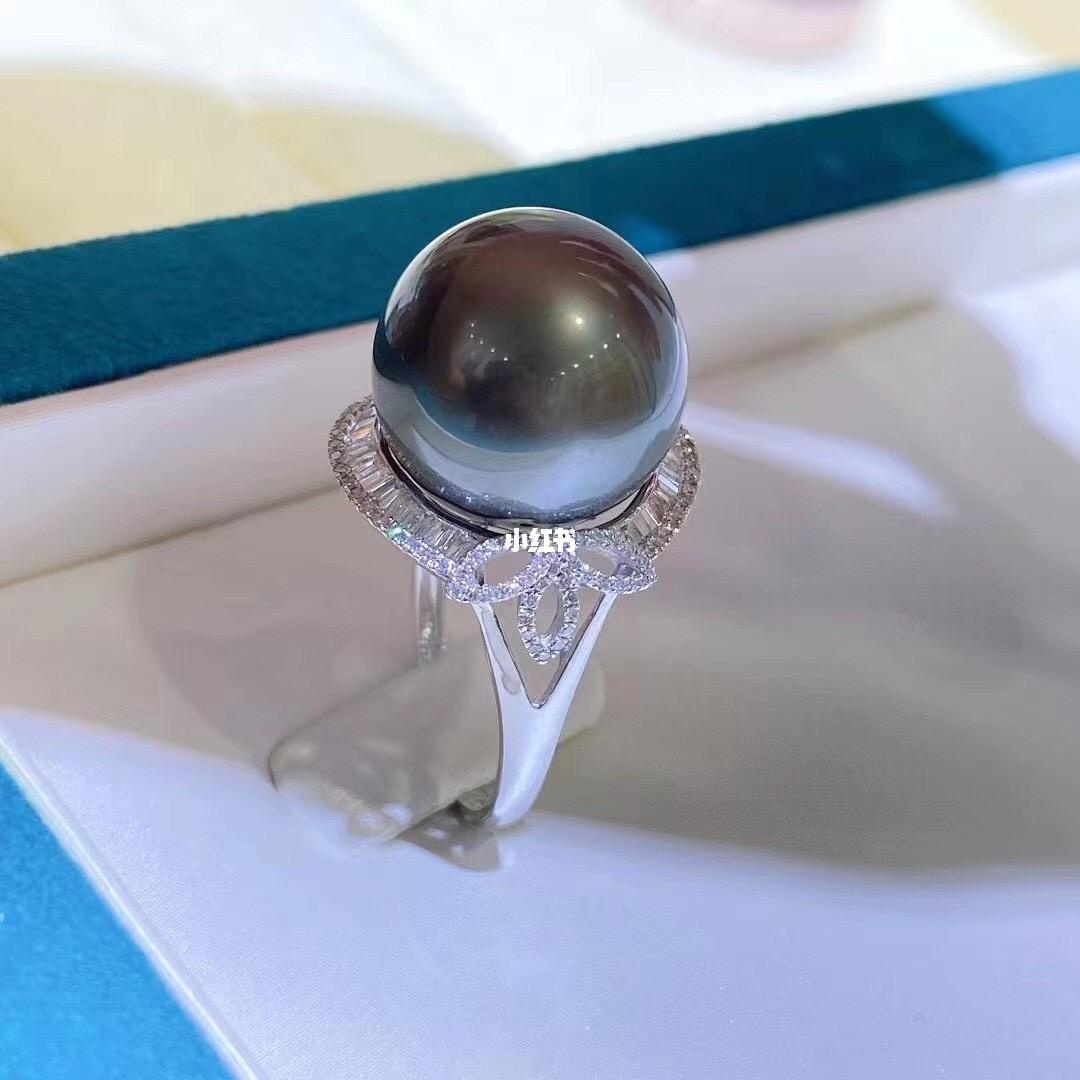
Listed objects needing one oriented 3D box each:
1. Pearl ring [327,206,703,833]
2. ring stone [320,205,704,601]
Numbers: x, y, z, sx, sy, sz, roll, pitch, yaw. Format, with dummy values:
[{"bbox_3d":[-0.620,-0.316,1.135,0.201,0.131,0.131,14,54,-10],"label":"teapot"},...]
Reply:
[{"bbox_3d":[-0.012,0.006,0.425,0.128,0.231,0.154,-11,51,-17],"label":"Pearl ring"},{"bbox_3d":[-0.018,-0.035,0.374,0.084,0.082,0.076,-1,59,-17],"label":"ring stone"}]
